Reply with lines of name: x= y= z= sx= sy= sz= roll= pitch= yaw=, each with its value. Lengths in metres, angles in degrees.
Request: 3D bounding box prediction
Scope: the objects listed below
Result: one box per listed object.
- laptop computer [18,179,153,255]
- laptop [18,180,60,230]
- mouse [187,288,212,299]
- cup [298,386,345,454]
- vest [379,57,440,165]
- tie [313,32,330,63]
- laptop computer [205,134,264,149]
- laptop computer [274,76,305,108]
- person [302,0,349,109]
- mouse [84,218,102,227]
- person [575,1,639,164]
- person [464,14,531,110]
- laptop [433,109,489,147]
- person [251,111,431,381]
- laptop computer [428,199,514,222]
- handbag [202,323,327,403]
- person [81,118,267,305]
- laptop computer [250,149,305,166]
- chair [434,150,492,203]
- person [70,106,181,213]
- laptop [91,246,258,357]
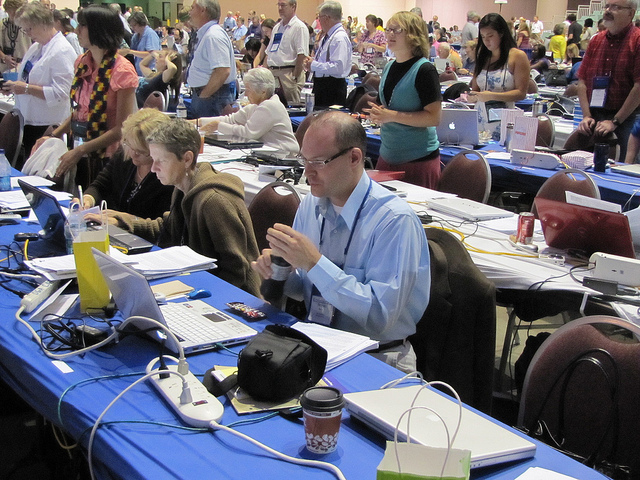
laptop computer: x=-1.180 y=-0.142 z=2.579 sx=0.488 sy=0.336 sz=0.584 roll=-11 pitch=21 yaw=-38
laptop: x=-1.497 y=-0.176 z=2.713 sx=0.206 sy=0.188 sz=0.284 roll=-32 pitch=20 yaw=-29
mouse: x=-0.496 y=0.217 z=2.096 sx=0.075 sy=0.026 sz=0.042 roll=3 pitch=3 yaw=-30
cup: x=0.001 y=0.448 z=1.326 sx=0.132 sy=0.148 sz=0.134 roll=1 pitch=5 yaw=0
vest: x=0.711 y=-1.042 z=4.246 sx=0.492 sy=0.854 sz=0.396 roll=9 pitch=14 yaw=25
tie: x=0.020 y=-2.568 z=7.037 sx=0.065 sy=0.494 sz=0.146 roll=-5 pitch=45 yaw=-36
laptop computer: x=-0.870 y=-0.938 z=4.890 sx=0.637 sy=0.128 sz=0.282 roll=9 pitch=14 yaw=26
laptop computer: x=-0.465 y=-2.206 z=7.688 sx=0.412 sy=0.470 sz=0.815 roll=1 pitch=13 yaw=-7
person: x=0.147 y=-2.505 z=6.981 sx=0.512 sy=1.357 sz=0.440 roll=3 pitch=13 yaw=2
mouse: x=-1.189 y=-0.090 z=2.694 sx=0.118 sy=0.042 sz=0.085 roll=8 pitch=5 yaw=37
person: x=2.891 y=-1.565 z=5.062 sx=0.563 sy=1.481 sz=0.577 roll=7 pitch=13 yaw=19
person: x=1.825 y=-1.836 z=5.273 sx=0.607 sy=0.841 sz=0.470 roll=11 pitch=15 yaw=33
laptop: x=1.451 y=-1.146 z=5.259 sx=0.531 sy=0.362 sz=0.425 roll=13 pitch=16 yaw=37
person: x=0.137 y=0.015 z=2.030 sx=0.624 sy=0.999 sz=0.484 roll=5 pitch=13 yaw=13
laptop computer: x=0.987 y=-0.196 z=3.425 sx=0.542 sy=0.076 sz=0.393 roll=-8 pitch=22 yaw=-28
handbag: x=-0.175 y=0.346 z=1.504 sx=0.384 sy=0.173 sz=0.255 roll=1 pitch=10 yaw=-39
person: x=-0.791 y=0.139 z=2.770 sx=0.893 sy=1.416 sz=0.596 roll=-2 pitch=-1 yaw=0
laptop computer: x=-0.373 y=-0.692 z=4.328 sx=0.441 sy=0.102 sz=0.393 roll=2 pitch=13 yaw=-4
chair: x=1.151 y=-0.506 z=4.019 sx=0.198 sy=0.366 sz=0.482 roll=-4 pitch=14 yaw=-25
person: x=-1.303 y=-0.534 z=3.409 sx=0.458 sy=0.976 sz=0.495 roll=39 pitch=36 yaw=29
laptop: x=-0.490 y=0.199 z=1.782 sx=0.573 sy=0.287 sz=0.367 roll=14 pitch=17 yaw=42
